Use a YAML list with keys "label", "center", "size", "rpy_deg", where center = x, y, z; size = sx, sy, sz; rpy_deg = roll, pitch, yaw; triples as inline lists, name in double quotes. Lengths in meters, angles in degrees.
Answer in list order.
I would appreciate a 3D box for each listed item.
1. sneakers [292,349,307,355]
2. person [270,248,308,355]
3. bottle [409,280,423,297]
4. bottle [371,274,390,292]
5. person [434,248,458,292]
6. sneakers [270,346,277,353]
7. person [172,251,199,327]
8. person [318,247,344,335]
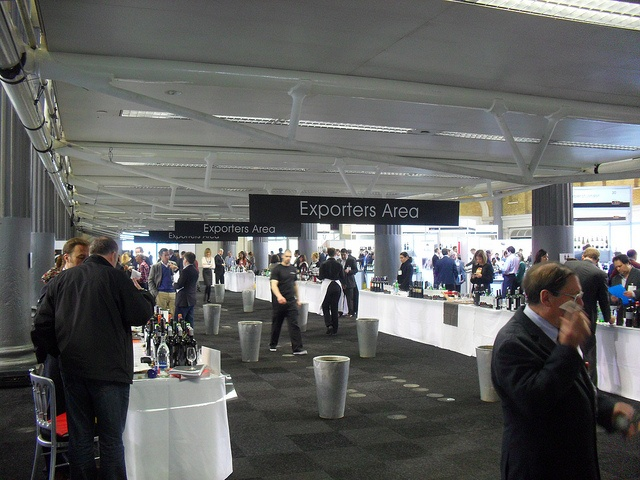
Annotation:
- label: "sneakers"
  center: [-0.447, 2.467, 10.255]
  size: [0.286, 0.126, 0.117]
  rpy_deg: [-3, -7, 11]
- label: "person"
  center: [-0.794, 1.385, 10.408]
  size: [0.862, 2.315, 0.729]
  rpy_deg: [-1, -1, 44]
- label: "bottle"
  center: [2.495, 1.285, 12.190]
  size: [0.368, 0.654, 0.375]
  rpy_deg: [2, -3, 0]
- label: "bottle"
  center: [1.789, 1.314, 14.068]
  size: [0.415, 0.439, 0.439]
  rpy_deg: [-1, 4, -1]
- label: "person"
  center: [3.894, 1.117, 14.411]
  size: [0.597, 1.758, 0.501]
  rpy_deg: [1, 22, 18]
- label: "sneakers"
  center: [-1.072, 2.530, 10.774]
  size: [0.147, 0.105, 0.070]
  rpy_deg: [0, -3, 1]
- label: "person"
  center: [-3.293, 1.191, 11.452]
  size: [0.545, 1.759, 0.717]
  rpy_deg: [0, -1, -18]
- label: "person"
  center: [0.342, 1.439, 13.463]
  size: [0.712, 2.400, 1.155]
  rpy_deg: [0, -1, 0]
